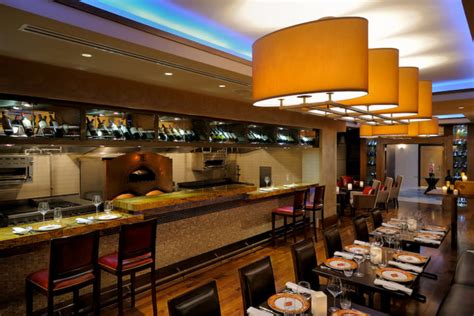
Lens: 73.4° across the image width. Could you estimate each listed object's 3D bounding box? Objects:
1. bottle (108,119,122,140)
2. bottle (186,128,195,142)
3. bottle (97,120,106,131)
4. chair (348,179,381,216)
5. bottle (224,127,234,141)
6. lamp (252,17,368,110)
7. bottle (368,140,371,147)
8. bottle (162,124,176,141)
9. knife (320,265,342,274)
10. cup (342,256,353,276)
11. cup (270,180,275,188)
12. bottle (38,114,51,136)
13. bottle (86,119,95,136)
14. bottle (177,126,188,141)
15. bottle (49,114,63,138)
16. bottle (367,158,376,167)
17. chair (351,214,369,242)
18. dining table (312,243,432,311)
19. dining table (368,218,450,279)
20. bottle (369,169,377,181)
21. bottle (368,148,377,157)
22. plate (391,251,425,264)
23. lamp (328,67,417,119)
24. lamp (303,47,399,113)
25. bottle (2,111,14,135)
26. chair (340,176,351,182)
[{"bbox_3d":[-2.030,-0.488,5.287,0.192,0.326,0.107,-5,4,-20],"label":"bottle"},{"bbox_3d":[-0.901,-0.439,6.151,0.060,0.207,0.228,-4,-6,42],"label":"bottle"},{"bbox_3d":[-2.193,-0.541,5.124,0.117,0.176,0.052,-7,5,-42],"label":"bottle"},{"bbox_3d":[4.110,1.257,10.389,1.231,1.474,1.138,-1,-3,12],"label":"chair"},{"bbox_3d":[-0.179,-0.514,6.836,0.190,0.247,0.067,-23,3,-31],"label":"bottle"},{"bbox_3d":[0.761,-0.990,3.322,0.724,0.598,1.267,-11,11,-43],"label":"lamp"},{"bbox_3d":[5.595,-0.651,13.486,0.259,0.260,0.066,-7,5,-44],"label":"bottle"},{"bbox_3d":[-1.282,-0.451,5.928,0.131,0.419,0.182,-39,28,-30],"label":"bottle"},{"bbox_3d":[1.259,1.505,4.277,0.085,0.016,0.320,-14,10,-40],"label":"knife"},{"bbox_3d":[1.476,1.480,4.240,0.117,0.170,0.119,-3,1,0],"label":"cup"},{"bbox_3d":[0.992,0.734,9.058,0.145,0.151,0.139,0,-7,0],"label":"cup"},{"bbox_3d":[-2.819,-0.490,4.624,0.109,0.086,0.365,-11,48,-36],"label":"bottle"},{"bbox_3d":[-2.308,-0.487,5.022,0.134,0.294,0.096,-5,4,-18],"label":"bottle"},{"bbox_3d":[-1.046,-0.457,6.052,0.170,0.219,0.069,-2,0,-42],"label":"bottle"},{"bbox_3d":[-2.680,-0.475,4.723,0.045,0.223,0.179,-1,4,34],"label":"bottle"},{"bbox_3d":[5.714,0.172,13.520,0.417,0.334,0.096,-4,4,-17],"label":"bottle"},{"bbox_3d":[2.199,1.277,5.634,0.250,0.436,0.715,-2,3,21],"label":"chair"},{"bbox_3d":[1.894,1.630,4.366,1.124,0.636,1.123,-1,-3,34],"label":"dining table"},{"bbox_3d":[2.666,1.494,5.274,1.314,0.742,1.314,-4,0,35],"label":"dining table"},{"bbox_3d":[5.817,0.689,13.604,0.320,0.418,0.187,14,-7,-28],"label":"bottle"},{"bbox_3d":[5.708,-0.209,13.517,0.427,0.342,0.092,-5,4,-20],"label":"bottle"},{"bbox_3d":[2.483,1.459,4.642,0.311,0.040,0.303,-3,2,-30],"label":"plate"},{"bbox_3d":[2.060,-0.808,4.507,0.831,0.479,0.806,-1,3,-34],"label":"lamp"},{"bbox_3d":[1.385,-0.887,3.940,0.763,0.770,0.756,2,-5,-16],"label":"lamp"},{"bbox_3d":[-3.167,-0.472,4.364,0.124,0.258,0.046,-6,4,-33],"label":"bottle"},{"bbox_3d":[4.078,0.795,12.043,0.249,0.171,0.251,-4,6,-30],"label":"chair"}]
